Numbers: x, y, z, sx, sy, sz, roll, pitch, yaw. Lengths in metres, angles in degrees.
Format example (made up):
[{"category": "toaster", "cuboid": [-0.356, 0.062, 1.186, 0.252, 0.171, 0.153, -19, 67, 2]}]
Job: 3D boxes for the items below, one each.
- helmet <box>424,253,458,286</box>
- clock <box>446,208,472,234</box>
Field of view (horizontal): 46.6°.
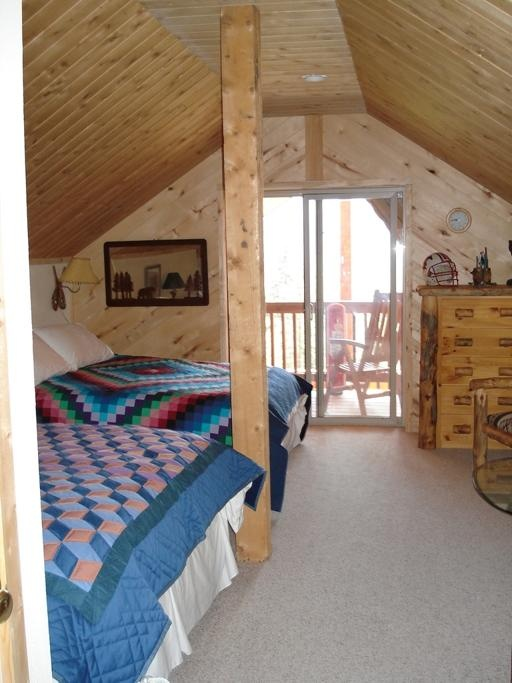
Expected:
[{"category": "helmet", "cuboid": [1.400, -0.561, 4.546, 0.235, 0.227, 0.301, -9, 15, -18]}, {"category": "clock", "cuboid": [1.562, -0.927, 4.588, 0.199, 0.178, 0.046, -2, 9, 21]}]
